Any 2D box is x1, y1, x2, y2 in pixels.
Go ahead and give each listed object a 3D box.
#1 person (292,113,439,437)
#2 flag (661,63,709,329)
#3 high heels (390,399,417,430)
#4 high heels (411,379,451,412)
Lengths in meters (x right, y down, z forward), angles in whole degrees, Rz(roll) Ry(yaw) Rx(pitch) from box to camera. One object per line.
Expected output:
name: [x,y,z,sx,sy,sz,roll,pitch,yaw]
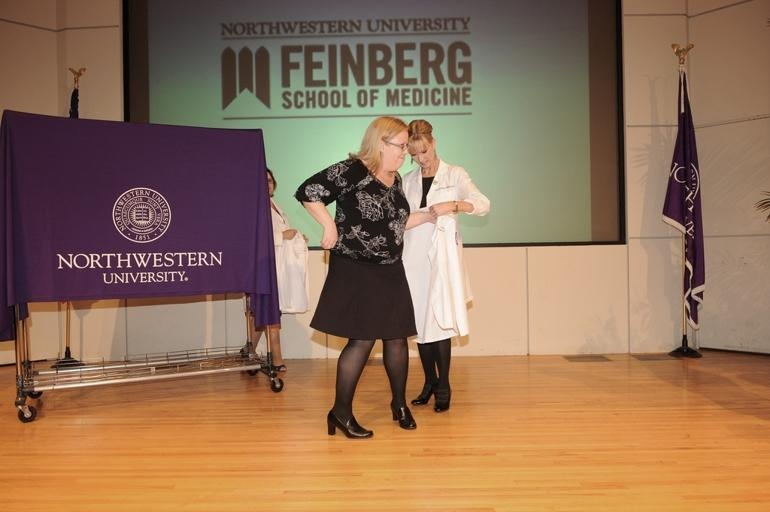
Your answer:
person: [-0.184,0.174,5.432,0.893,2.448,0.533,-2,11,-6]
flag: [3.349,-0.629,7.548,0.471,2.723,0.505,8,14,36]
high heels: [0.158,1.289,5.574,0.111,0.144,0.316,0,-5,-20]
high heels: [0.412,1.212,5.992,0.320,0.146,0.194,-2,-1,8]
